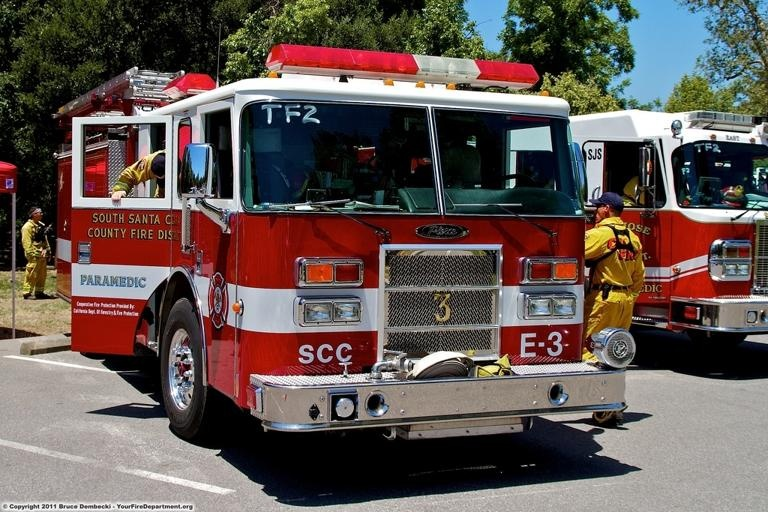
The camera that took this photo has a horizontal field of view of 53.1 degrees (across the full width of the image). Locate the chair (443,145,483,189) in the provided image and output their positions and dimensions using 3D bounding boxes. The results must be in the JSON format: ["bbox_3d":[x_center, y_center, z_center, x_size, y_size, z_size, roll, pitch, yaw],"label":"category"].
[{"bbox_3d":[0.797,-0.983,8.279,0.531,0.499,0.281,-4,-6,-39],"label":"chair"}]
